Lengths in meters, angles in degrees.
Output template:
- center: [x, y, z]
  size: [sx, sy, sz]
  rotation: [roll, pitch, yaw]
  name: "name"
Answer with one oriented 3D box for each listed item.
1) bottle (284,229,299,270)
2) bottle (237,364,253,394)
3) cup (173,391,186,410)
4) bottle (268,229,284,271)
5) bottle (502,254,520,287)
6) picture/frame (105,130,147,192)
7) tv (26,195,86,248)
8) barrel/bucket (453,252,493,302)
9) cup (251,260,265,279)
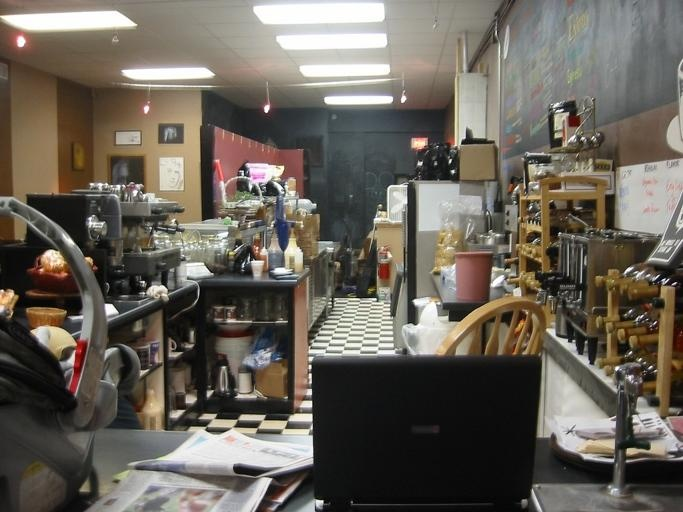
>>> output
- center: [-0.435, -0.051, 4.723]
  size: [0.112, 0.307, 0.423]
  rotation: [-4, 10, -6]
  name: "bottle"
- center: [-0.742, 0.965, 4.295]
  size: [0.115, 0.208, 0.196]
  rotation: [0, 2, -2]
  name: "bottle"
- center: [-1.130, 1.010, 3.912]
  size: [0.090, 0.109, 0.091]
  rotation: [4, 6, 0]
  name: "cup"
- center: [-0.561, -0.013, 4.670]
  size: [0.134, 0.237, 0.166]
  rotation: [-7, 10, -23]
  name: "bottle"
- center: [1.117, 0.099, 3.711]
  size: [0.065, 0.198, 0.197]
  rotation: [4, -3, -30]
  name: "bottle"
- center: [-3.546, -1.596, 9.198]
  size: [0.641, 0.905, 0.145]
  rotation: [-1, 9, 8]
  name: "picture/frame"
- center: [-1.204, -0.159, 2.399]
  size: [0.255, 0.274, 0.198]
  rotation: [2, 8, 1]
  name: "tv"
- center: [0.667, 0.099, 2.907]
  size: [0.221, 0.274, 0.233]
  rotation: [0, 4, 0]
  name: "barrel/bucket"
- center: [-0.648, 0.103, 4.410]
  size: [0.110, 0.125, 0.116]
  rotation: [-1, -2, 0]
  name: "cup"
